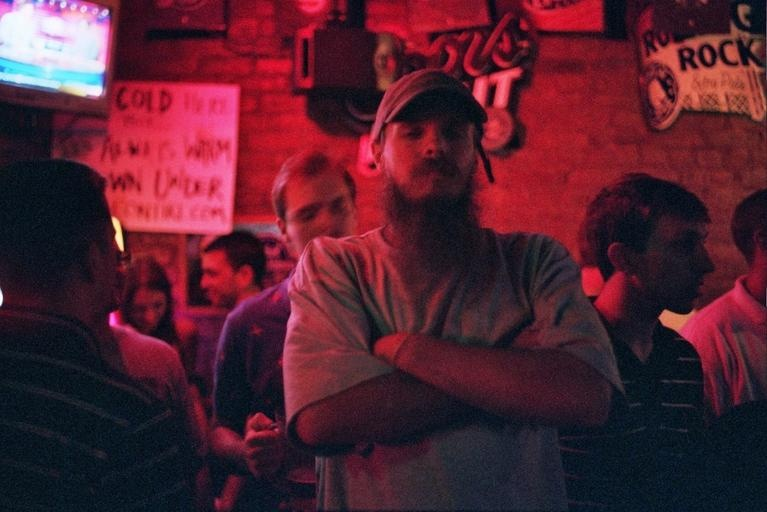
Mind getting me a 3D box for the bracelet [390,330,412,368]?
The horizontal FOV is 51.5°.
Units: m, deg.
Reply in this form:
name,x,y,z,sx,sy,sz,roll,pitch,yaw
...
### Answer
name,x,y,z,sx,sy,sz,roll,pitch,yaw
bracelet,0.096,0.495,4.189,0.093,0.159,0.068,-1,-3,5
